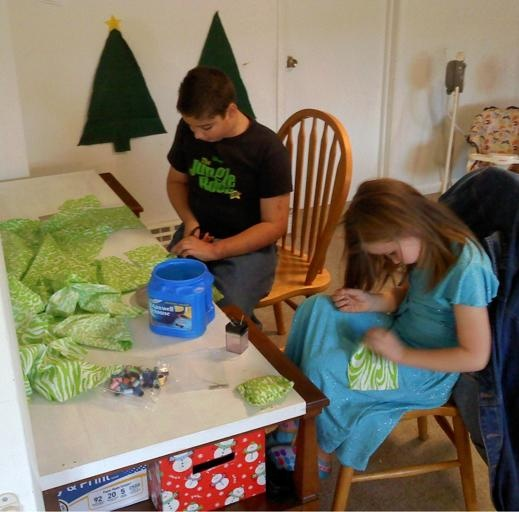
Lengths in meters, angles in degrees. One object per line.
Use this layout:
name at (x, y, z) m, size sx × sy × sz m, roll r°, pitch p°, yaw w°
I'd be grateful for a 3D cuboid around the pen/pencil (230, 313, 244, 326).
pen/pencil at (-0.044, 0.134, 0.959) m, size 0.013 × 0.023 × 0.034 m, roll -3°, pitch 16°, yaw -16°

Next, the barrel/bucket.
barrel/bucket at (-0.162, 0.100, 1.053) m, size 0.168 × 0.142 × 0.171 m, roll 0°, pitch 27°, yaw 0°

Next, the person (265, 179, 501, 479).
person at (0.282, 0.281, 1.221) m, size 0.523 × 0.954 × 0.461 m, roll -2°, pitch 17°, yaw 1°
